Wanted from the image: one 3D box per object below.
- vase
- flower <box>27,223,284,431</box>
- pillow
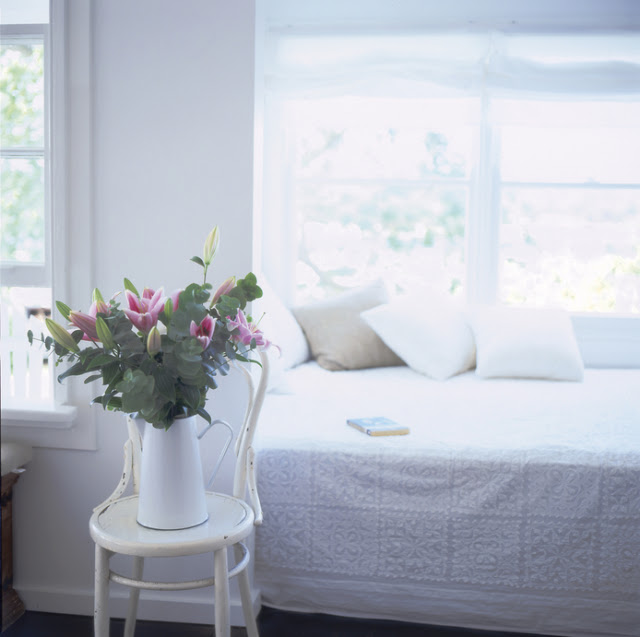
[{"bbox_3d":[-0.352,0.374,1.821,0.206,0.263,0.177,2,11,-3],"label":"vase"},{"bbox_3d":[-0.417,0.076,1.862,0.517,0.581,0.662,-7,-1,-14],"label":"flower"},{"bbox_3d":[0.542,0.068,3.010,0.700,0.246,0.580,-1,11,14],"label":"pillow"}]
